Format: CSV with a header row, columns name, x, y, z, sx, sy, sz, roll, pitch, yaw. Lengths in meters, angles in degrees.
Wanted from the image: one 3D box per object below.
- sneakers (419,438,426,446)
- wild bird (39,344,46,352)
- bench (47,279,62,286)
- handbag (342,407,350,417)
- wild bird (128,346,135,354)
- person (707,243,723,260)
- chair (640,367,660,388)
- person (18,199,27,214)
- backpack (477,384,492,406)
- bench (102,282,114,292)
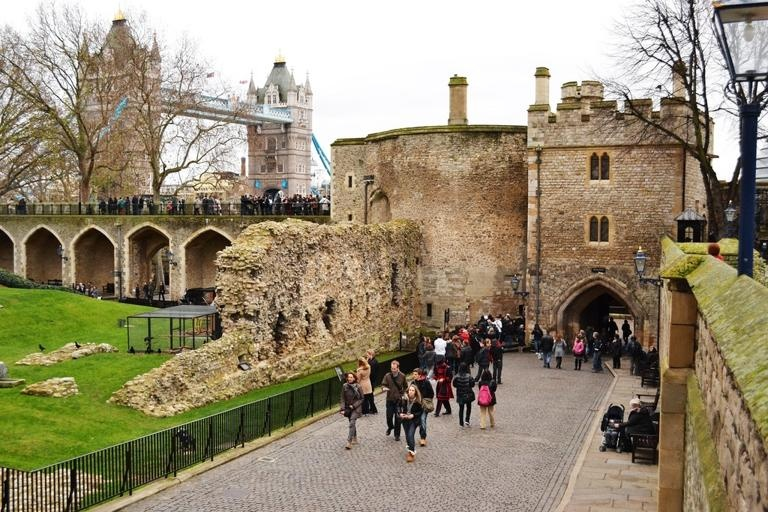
name,x,y,z,sx,sy,sz,roll,pitch,yaw
sneakers,1.143,5.408,29.918,0.142,0.162,0.212,-1,-15,15
wild bird,-13.418,3.599,40.543,0.184,0.267,0.364,-12,-23,28
bench,-20.616,1.651,64.734,0.740,0.552,0.726,1,0,-12
handbag,-1.046,4.473,29.591,0.183,0.246,0.085,-4,14,4
wild bird,-9.554,3.581,39.190,0.218,0.215,0.214,1,-5,-22
person,8.957,-0.113,27.844,0.450,0.452,1.145,-7,-5,18
chair,9.461,4.293,36.552,0.646,0.962,0.673,1,-3,19
person,-22.723,-3.077,65.041,0.424,0.893,1.381,-3,11,-20
backpack,3.079,4.186,31.078,0.379,0.724,0.321,1,10,2
bench,-17.101,1.985,64.300,0.768,0.721,0.589,-1,-6,16
